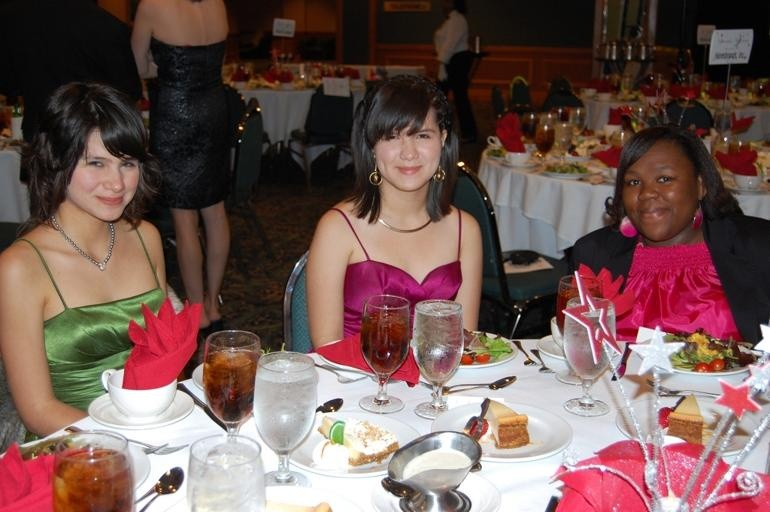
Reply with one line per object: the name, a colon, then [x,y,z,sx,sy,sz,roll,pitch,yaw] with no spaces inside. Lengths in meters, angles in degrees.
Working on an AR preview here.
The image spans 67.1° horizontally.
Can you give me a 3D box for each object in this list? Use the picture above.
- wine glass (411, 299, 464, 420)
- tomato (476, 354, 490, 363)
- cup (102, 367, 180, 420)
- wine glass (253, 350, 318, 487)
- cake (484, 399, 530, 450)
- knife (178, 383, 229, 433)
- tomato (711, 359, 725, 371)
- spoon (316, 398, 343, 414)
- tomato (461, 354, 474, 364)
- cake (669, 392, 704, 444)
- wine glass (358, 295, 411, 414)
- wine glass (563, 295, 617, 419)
wine glass: [0.137,0.246,1.498,0.128,0.265,0.232,-3,14,5]
tomato: [0.285,0.297,1.688,0.025,0.027,0.026,-4,2,7]
cup: [-0.616,0.335,1.441,0.140,0.070,0.118,2,2,26]
wine glass: [-0.204,0.336,1.187,0.163,0.299,0.158,-4,20,-20]
cake: [0.281,0.390,1.359,0.086,0.089,0.088,0,1,-14]
knife: [-0.429,0.366,1.379,0.034,0.012,0.245,10,21,-45]
tomato: [0.932,0.306,1.631,0.030,0.032,0.037,-14,-5,8]
spoon: [-0.135,0.373,1.443,0.069,0.025,0.027,-19,16,-9]
tomato: [0.237,0.302,1.681,0.031,0.031,0.030,2,7,-31]
cake: [0.708,0.386,1.364,0.090,0.130,0.039,2,1,38]
wine glass: [-0.005,0.245,1.476,0.123,0.279,0.122,5,10,7]
wine glass: [0.511,0.247,1.459,0.125,0.293,0.129,-4,8,-5]
